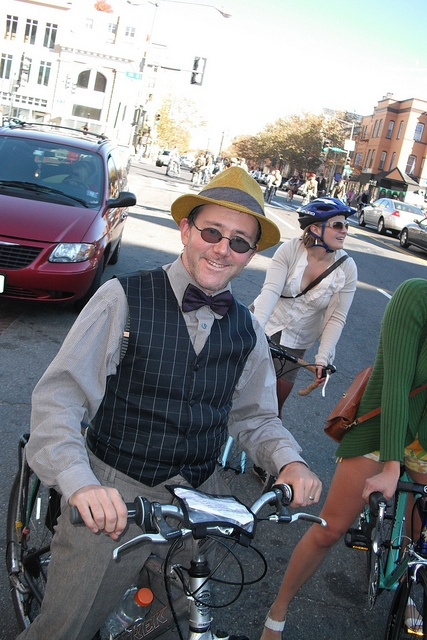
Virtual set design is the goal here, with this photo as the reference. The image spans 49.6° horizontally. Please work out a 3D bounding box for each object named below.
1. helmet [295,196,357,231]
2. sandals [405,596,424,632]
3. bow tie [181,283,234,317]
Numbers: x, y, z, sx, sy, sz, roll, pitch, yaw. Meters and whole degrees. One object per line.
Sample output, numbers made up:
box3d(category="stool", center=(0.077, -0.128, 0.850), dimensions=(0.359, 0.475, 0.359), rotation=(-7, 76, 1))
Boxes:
box3d(category="helmet", center=(0.864, -0.812, 3.532), dimensions=(0.440, 0.239, 0.451), rotation=(2, 14, 6))
box3d(category="sandals", center=(0.716, 1.045, 1.630), dimensions=(0.045, 0.111, 0.040), rotation=(4, -4, 13))
box3d(category="bow tie", center=(-0.017, -0.057, 1.451), dimensions=(0.109, 0.113, 0.071), rotation=(-2, 15, -23))
